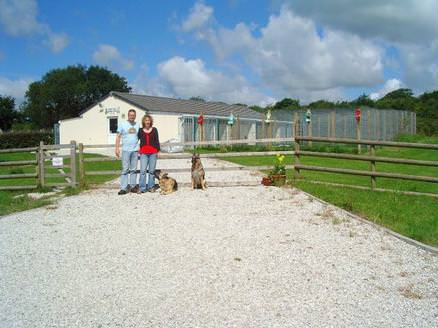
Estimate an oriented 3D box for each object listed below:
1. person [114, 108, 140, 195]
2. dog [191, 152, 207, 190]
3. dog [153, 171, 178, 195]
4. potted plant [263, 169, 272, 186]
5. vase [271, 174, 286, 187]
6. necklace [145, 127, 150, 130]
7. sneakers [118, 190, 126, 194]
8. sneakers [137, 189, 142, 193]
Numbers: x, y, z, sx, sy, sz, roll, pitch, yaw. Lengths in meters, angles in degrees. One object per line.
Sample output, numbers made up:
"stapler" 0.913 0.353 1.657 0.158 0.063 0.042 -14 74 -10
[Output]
"person" -2.717 -0.381 10.288 0.708 2.451 1.148 -4 10 -15
"dog" -0.639 0.232 10.471 0.422 1.094 0.446 1 10 9
"dog" -1.548 0.549 10.121 0.460 0.739 0.711 9 15 43
"potted plant" 1.516 0.437 10.805 0.299 0.450 0.484 -1 10 1
"vase" 1.829 0.503 10.489 0.344 0.274 0.368 0 -6 1
"necklace" -2.065 -1.005 9.982 0.171 0.064 0.042 -4 10 -14
"sneakers" -2.795 0.827 9.901 0.090 0.118 0.261 -1 -8 6
"sneakers" -2.316 0.809 10.036 0.088 0.080 0.163 -1 -5 -7
